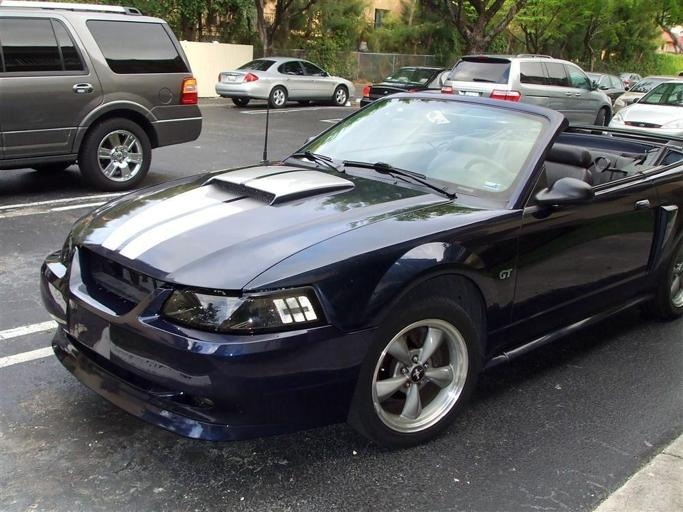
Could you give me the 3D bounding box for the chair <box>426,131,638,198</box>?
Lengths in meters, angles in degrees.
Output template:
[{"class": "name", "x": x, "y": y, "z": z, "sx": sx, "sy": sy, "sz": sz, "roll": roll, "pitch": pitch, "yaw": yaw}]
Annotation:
[{"class": "chair", "x": 1.348, "y": -0.637, "z": 3.552, "sx": 0.974, "sy": 0.380, "sz": 0.711, "roll": -11, "pitch": 19, "yaw": -34}]
